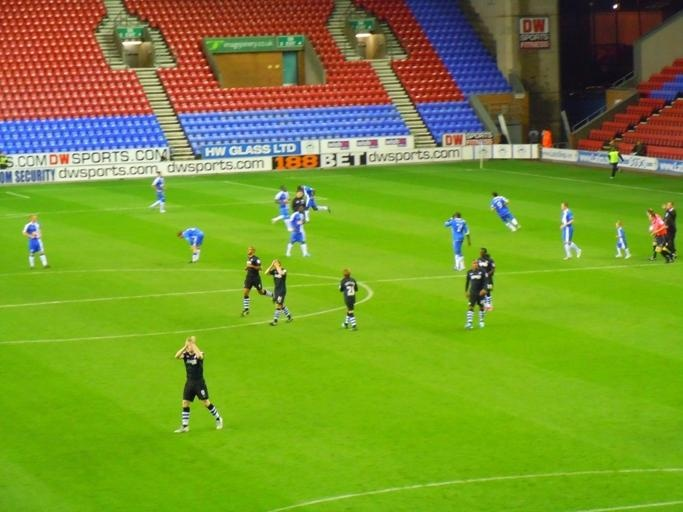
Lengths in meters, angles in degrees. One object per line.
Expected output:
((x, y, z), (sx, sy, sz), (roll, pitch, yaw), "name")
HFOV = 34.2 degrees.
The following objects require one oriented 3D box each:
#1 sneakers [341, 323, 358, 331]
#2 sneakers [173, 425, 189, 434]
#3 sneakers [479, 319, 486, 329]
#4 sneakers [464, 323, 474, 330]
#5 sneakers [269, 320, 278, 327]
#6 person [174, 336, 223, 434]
((0.236, 2.149, 32.598), (0.447, 0.282, 0.151), (6, 6, 35), "sneakers")
((-3.838, 4.239, 26.809), (0.411, 0.162, 0.132), (3, 3, -2), "sneakers")
((4.174, 2.086, 32.630), (0.191, 0.286, 0.211), (3, -3, 14), "sneakers")
((3.746, 2.133, 32.489), (0.197, 0.184, 0.439), (-1, -4, 7), "sneakers")
((-1.999, 2.046, 33.067), (0.231, 0.178, 0.284), (-2, 7, -7), "sneakers")
((-3.483, 3.102, 26.957), (1.143, 2.351, 0.952), (-3, 8, -9), "person")
